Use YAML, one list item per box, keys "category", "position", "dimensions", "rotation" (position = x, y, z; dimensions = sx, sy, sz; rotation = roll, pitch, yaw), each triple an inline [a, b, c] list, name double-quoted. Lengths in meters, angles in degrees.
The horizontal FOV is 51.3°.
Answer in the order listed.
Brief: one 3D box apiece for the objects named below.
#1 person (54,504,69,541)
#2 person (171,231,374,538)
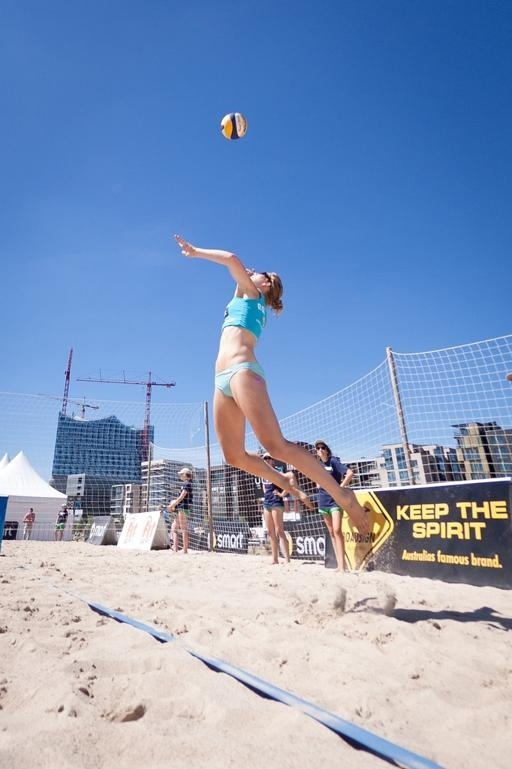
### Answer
- category: "person"
  position: [-4.402, 3.092, 12.006]
  dimensions: [0.310, 1.118, 0.457]
  rotation: [8, -61, -18]
- category: "person"
  position: [0.039, -0.068, 2.390]
  dimensions: [0.685, 1.434, 0.523]
  rotation: [-3, -15, 2]
